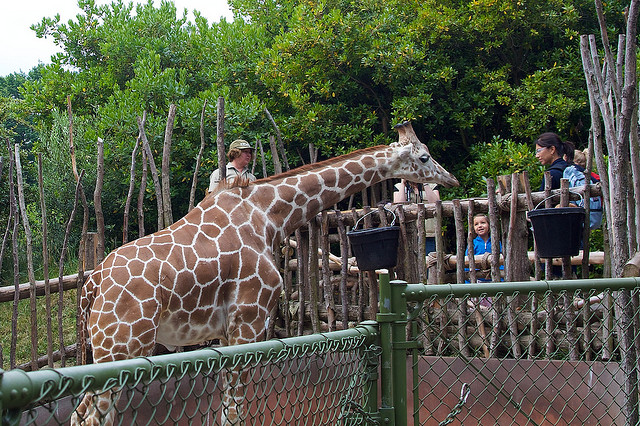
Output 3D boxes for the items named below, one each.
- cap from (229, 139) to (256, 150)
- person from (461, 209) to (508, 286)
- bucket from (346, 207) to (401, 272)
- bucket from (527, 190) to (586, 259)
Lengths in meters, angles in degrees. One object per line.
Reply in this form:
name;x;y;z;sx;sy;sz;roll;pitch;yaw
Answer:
cap;-1.212;-1.018;12.923;0.247;0.100;0.181;-5;-5;34
person;2.611;0.749;12.963;0.530;1.497;0.498;-10;-28;3
bucket;0.830;0.381;12.359;0.729;0.929;0.838;-8;-6;15
bucket;3.202;0.240;11.612;0.685;0.799;0.639;2;-9;0
